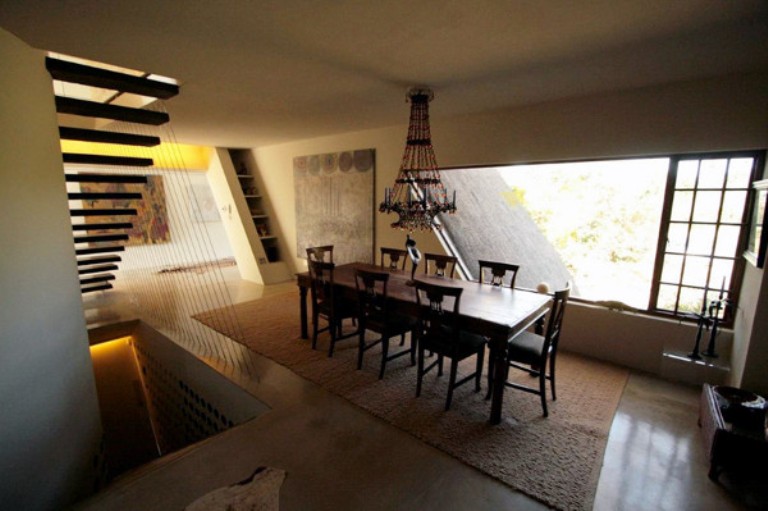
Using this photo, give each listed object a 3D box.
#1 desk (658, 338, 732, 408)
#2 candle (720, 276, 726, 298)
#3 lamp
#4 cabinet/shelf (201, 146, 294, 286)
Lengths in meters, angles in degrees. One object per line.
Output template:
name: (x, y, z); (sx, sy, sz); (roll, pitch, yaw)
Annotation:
desk: (3.449, 1.272, 5.134); (0.800, 0.564, 0.433); (15, 44, 32)
candle: (3.734, 0.355, 5.060); (0.042, 0.237, 0.204); (6, 10, 39)
lamp: (0.415, -1.153, 5.601); (0.981, 1.603, 0.991); (7, 15, 26)
cabinet/shelf: (-2.782, -0.816, 9.271); (1.679, 2.644, 0.684); (4, 10, 32)
